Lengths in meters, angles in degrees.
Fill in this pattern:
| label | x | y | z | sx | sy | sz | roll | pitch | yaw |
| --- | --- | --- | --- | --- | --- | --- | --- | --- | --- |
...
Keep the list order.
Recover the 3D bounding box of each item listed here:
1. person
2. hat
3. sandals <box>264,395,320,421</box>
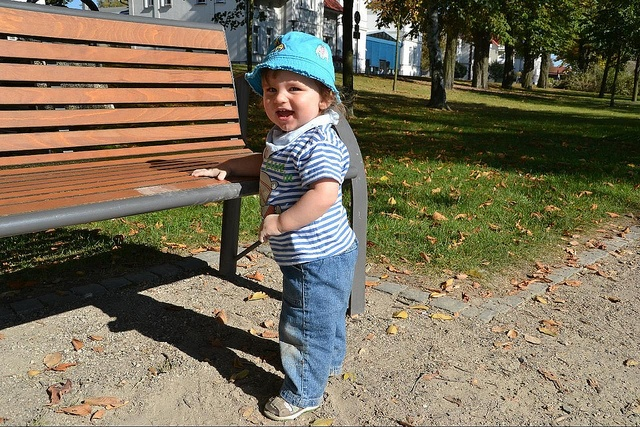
| label | x | y | z | sx | sy | sz | roll | pitch | yaw |
| --- | --- | --- | --- | --- | --- | --- | --- | --- | --- |
| person | -0.100 | 0.057 | 2.425 | 0.612 | 2.000 | 0.691 | 0 | 15 | -9 |
| hat | -0.124 | -0.753 | 2.281 | 0.371 | 0.230 | 0.439 | 8 | 2 | 32 |
| sandals | -0.141 | 1.031 | 2.358 | 0.247 | 0.089 | 0.116 | 5 | 0 | -14 |
